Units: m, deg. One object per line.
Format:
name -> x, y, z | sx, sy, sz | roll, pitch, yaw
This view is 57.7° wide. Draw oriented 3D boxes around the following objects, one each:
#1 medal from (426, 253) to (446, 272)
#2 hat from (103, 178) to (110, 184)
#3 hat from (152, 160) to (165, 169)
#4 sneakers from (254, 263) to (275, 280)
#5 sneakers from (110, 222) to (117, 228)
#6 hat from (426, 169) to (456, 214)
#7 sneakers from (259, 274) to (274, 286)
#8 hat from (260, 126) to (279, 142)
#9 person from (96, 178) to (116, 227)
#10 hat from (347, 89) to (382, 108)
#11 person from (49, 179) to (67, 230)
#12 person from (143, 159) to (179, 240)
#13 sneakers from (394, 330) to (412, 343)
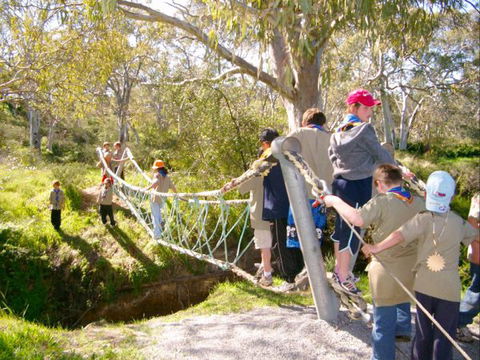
medal -> 1.925, 0.807, 4.270 | 0.117, 0.135, 0.009 | 27, 9, 14
hat -> -3.111, 0.036, 10.129 | 0.230, 0.139, 0.120 | 3, 10, 35
hat -> -1.607, -0.313, 8.894 | 0.229, 0.152, 0.261 | 7, 15, 30
sneakers -> 0.359, 1.392, 6.668 | 0.191, 0.276, 0.575 | -1, 2, -5
sneakers -> -3.061, 1.095, 10.586 | 0.113, 0.098, 0.117 | -1, 8, -31
hat -> 1.939, 0.120, 4.235 | 0.239, 0.445, 0.212 | 10, -11, 15
sneakers -> 0.378, 1.426, 6.255 | 0.089, 0.134, 0.257 | -5, 4, -19
hat -> 0.387, -0.594, 5.898 | 0.193, 0.277, 0.249 | -8, 17, -34
person -> -3.227, 0.525, 10.512 | 0.380, 1.200, 0.921 | -5, 8, -18
hat -> 1.412, -0.918, 5.035 | 0.271, 0.169, 0.222 | 1, 11, 9
person -> -4.159, 0.585, 9.947 | 0.497, 1.181, 0.281 | 5, 11, 41
person -> -1.619, 0.433, 8.973 | 0.578, 1.664, 1.018 | -4, 8, -12
sneakers -> 1.780, 1.703, 4.727 | 0.189, 0.124, 0.050 | -5, 8, -10
